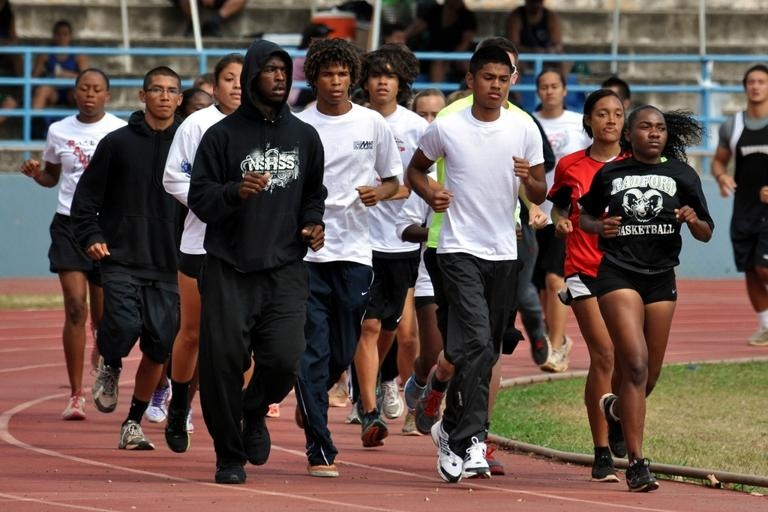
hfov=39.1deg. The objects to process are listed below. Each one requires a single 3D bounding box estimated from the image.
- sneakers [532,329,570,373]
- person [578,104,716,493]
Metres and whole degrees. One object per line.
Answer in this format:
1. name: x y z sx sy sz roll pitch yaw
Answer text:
1. sneakers: 1.932 1.132 12.307 0.223 0.270 0.611 -1 18 20
2. person: 2.047 0.266 8.532 0.926 2.890 1.380 3 6 28
